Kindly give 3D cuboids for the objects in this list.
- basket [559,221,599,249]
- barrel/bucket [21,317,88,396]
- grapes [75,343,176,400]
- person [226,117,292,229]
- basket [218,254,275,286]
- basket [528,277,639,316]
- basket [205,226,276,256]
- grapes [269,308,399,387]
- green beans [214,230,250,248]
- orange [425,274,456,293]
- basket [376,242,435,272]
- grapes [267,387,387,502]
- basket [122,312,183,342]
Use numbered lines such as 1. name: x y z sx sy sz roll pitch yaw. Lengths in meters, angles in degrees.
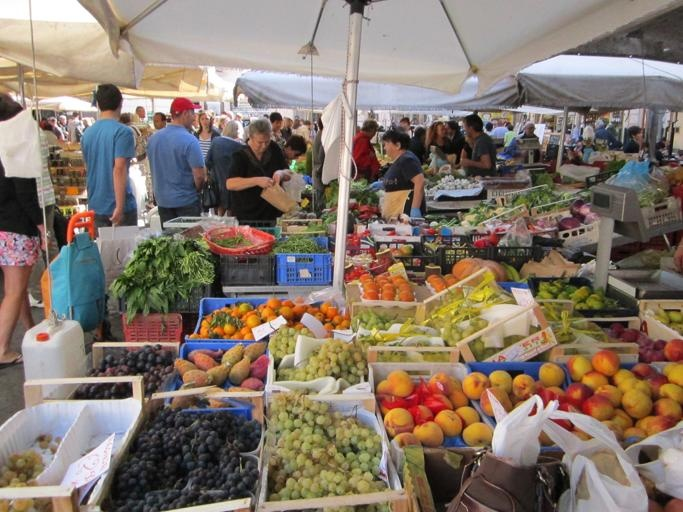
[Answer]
1. basket: 2.880 -0.233 6.183 0.401 0.162 0.293 -15 16 -24
2. barrel/bucket: -2.154 0.776 3.877 0.257 0.510 0.372 -1 12 0
3. grapes: -1.563 0.861 3.820 0.425 0.185 0.448 0 34 -1
4. person: -1.105 -0.769 6.685 0.755 1.861 0.892 -13 27 -34
5. basket: -0.929 0.149 5.049 0.317 0.234 0.441 0 2 -3
6. basket: 2.172 0.376 4.597 0.422 0.125 0.456 -1 25 6
7. basket: -1.037 -0.141 5.274 0.717 0.245 0.692 -2 10 -8
8. grapes: -0.143 0.722 3.546 0.645 0.292 0.380 0 10 1
9. green beans: -1.139 -0.144 5.358 0.197 0.055 0.202 -8 32 -20
10. orange: 0.883 0.246 4.590 0.156 0.069 0.165 5 16 35
11. basket: 0.736 -0.008 5.268 0.374 0.139 0.404 -1 25 -2
12. grapes: -0.096 1.092 2.935 0.531 0.237 0.538 1 41 -6
13. basket: -1.740 0.623 4.758 0.429 0.180 0.298 -1 9 -11
